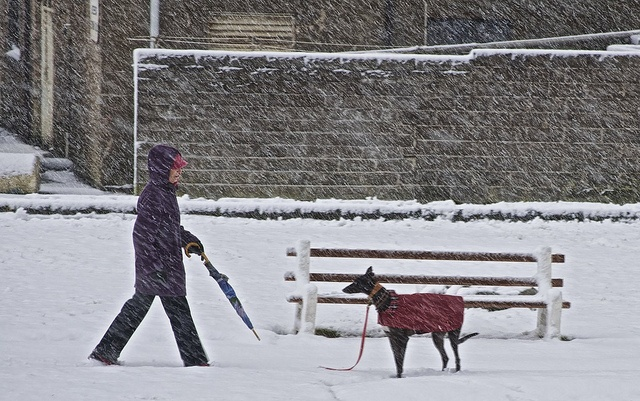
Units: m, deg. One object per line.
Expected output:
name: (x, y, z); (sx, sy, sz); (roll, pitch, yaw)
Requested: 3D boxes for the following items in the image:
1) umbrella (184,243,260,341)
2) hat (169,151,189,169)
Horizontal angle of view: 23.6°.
umbrella: (-2.213, 2.219, 35.121); (0.425, 2.296, 0.485); (-29, 14, 14)
hat: (-3.002, -0.796, 33.158); (0.317, 0.337, 0.341); (-24, 59, -32)
